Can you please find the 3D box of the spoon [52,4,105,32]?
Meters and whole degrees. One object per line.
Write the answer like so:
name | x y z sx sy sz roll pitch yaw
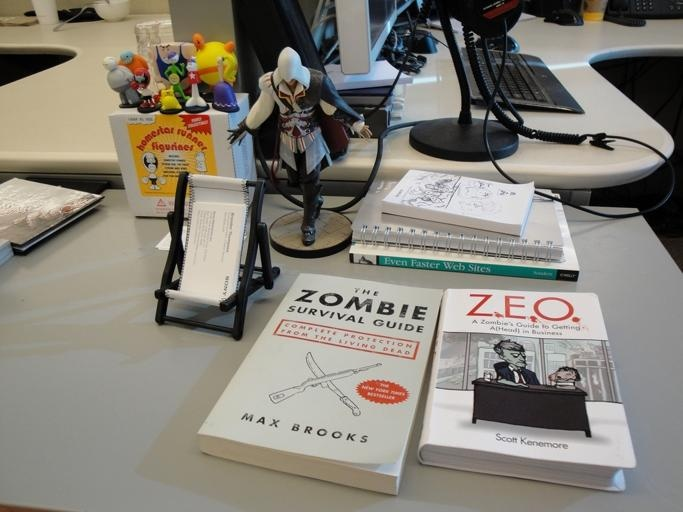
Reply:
spoon | -1.292 -1.159 2.471 0.240 0.073 0.181 -14 25 -30

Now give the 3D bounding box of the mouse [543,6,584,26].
mouse | 0.892 -0.924 1.937 0.086 0.043 0.116 -4 18 -14
